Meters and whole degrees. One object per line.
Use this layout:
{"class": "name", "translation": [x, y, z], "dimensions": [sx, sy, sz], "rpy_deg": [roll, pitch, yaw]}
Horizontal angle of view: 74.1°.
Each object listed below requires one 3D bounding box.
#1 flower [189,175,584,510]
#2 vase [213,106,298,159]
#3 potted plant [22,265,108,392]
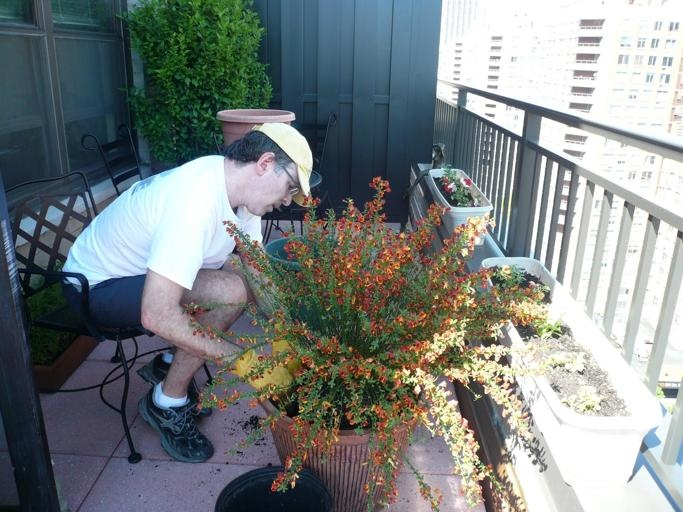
{"class": "flower", "translation": [0.184, 0.273, 1.787], "dimensions": [0.983, 0.869, 1.290], "rpy_deg": [7, 29, 3]}
{"class": "vase", "translation": [-0.668, -1.025, 3.425], "dimensions": [0.568, 0.493, 0.628], "rpy_deg": [0, 20, -5]}
{"class": "potted plant", "translation": [-1.307, 0.343, 2.126], "dimensions": [0.286, 0.143, 0.587], "rpy_deg": [19, 38, 4]}
